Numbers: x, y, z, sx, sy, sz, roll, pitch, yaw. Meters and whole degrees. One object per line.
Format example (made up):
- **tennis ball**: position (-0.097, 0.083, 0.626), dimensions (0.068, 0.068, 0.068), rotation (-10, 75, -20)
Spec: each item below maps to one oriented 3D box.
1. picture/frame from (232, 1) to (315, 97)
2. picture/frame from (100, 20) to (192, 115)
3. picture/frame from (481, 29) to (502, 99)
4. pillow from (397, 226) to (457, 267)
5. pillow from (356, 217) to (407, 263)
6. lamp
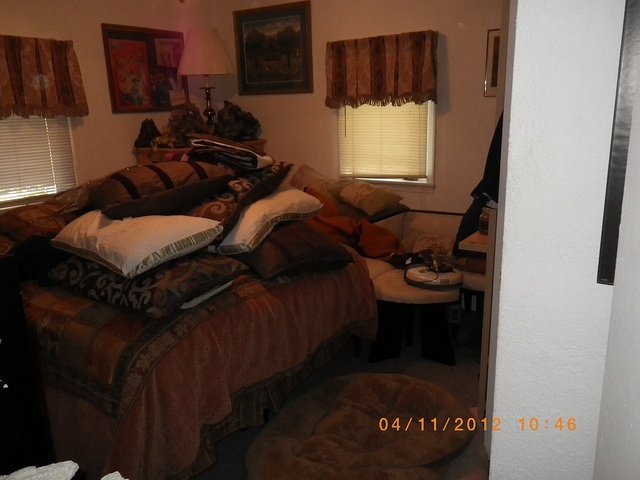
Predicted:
- **picture/frame**: position (-0.403, -1.787, 4.477), dimensions (0.824, 0.822, 0.035), rotation (14, 25, 35)
- **picture/frame**: position (-1.561, -1.528, 4.416), dimensions (0.021, 0.707, 0.935), rotation (6, 19, 25)
- **picture/frame**: position (1.291, -1.300, 3.582), dimensions (0.065, 0.478, 0.123), rotation (-8, 16, -20)
- **pillow**: position (0.798, 0.047, 3.617), dimensions (0.240, 0.077, 0.257), rotation (8, 43, 26)
- **pillow**: position (0.426, 0.019, 3.481), dimensions (0.292, 0.107, 0.302), rotation (19, 34, 23)
- **lamp**: position (-1.058, -1.461, 4.480), dimensions (0.475, 0.945, 0.637), rotation (-5, 16, -11)
